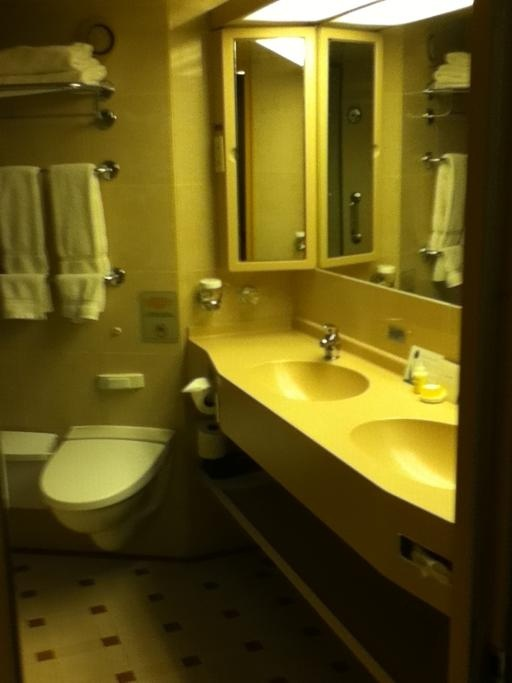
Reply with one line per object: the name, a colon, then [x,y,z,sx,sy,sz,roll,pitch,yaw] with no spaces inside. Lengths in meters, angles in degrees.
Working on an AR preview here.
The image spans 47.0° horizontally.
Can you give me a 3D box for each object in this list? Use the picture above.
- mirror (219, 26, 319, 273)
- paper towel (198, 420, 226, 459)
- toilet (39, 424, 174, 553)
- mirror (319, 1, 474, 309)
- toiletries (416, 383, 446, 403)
mirror: [0.050,-0.635,2.001,0.307,0.815,0.053,-1,8,4]
paper towel: [-0.154,0.352,2.101,0.121,0.122,0.121,1,6,15]
toilet: [-0.480,0.490,1.959,0.294,0.298,0.454,1,17,1]
mirror: [0.448,-0.526,1.674,0.243,0.689,0.728,-11,21,-21]
toiletries: [0.415,0.121,1.399,0.053,0.035,0.095,0,12,-3]
